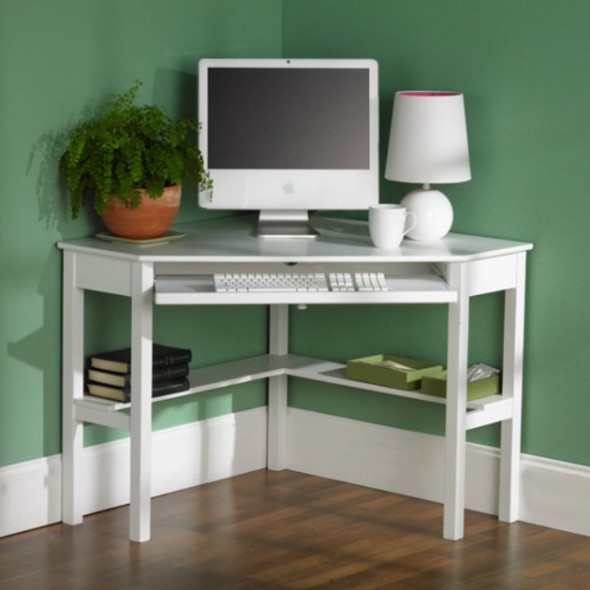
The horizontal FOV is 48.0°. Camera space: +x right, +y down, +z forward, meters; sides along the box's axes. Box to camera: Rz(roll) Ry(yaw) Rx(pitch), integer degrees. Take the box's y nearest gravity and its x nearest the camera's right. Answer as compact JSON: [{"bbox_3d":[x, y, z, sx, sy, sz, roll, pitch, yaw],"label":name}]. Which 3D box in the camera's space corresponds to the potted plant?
[{"bbox_3d":[-0.414,-0.359,1.890,0.383,0.353,0.378,1,-3,5],"label":"potted plant"}]

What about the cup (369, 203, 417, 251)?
[{"bbox_3d":[0.253,-0.200,1.868,0.164,0.111,0.102,-1,2,-16],"label":"cup"}]

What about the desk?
[{"bbox_3d":[0.063,0.276,2.012,1.060,0.777,1.114,7,9,41],"label":"desk"}]

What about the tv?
[{"bbox_3d":[-0.021,-0.476,2.067,0.640,0.576,0.197,0,3,-3],"label":"tv"}]
